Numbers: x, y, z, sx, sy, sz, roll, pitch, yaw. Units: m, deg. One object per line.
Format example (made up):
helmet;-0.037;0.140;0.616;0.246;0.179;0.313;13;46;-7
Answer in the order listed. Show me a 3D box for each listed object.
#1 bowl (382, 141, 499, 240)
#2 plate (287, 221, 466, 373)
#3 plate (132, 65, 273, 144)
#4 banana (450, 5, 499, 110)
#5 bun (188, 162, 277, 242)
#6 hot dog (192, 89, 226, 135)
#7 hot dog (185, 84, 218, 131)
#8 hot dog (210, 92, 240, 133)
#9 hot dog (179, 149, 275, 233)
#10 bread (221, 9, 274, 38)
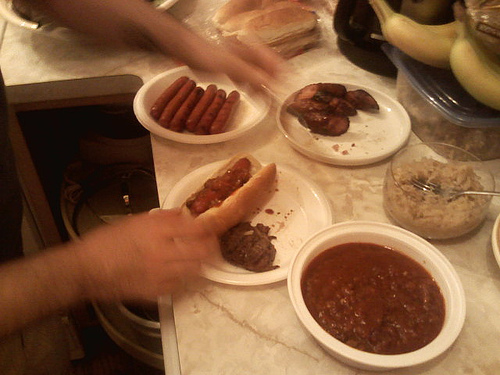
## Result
bowl;0.681;0.005;1.583;0.385;0.182;0.394;0;52;-1
plate;0.385;0.316;1.312;0.535;0.060;0.464;7;59;4
plate;-0.230;-0.377;1.951;0.597;0.086;0.465;20;61;11
banana;0.848;-0.489;1.603;0.208;0.080;0.337;-26;86;-49
bun;-0.032;0.054;1.614;0.361;0.107;0.176;-40;26;-20
hot dog;-0.166;-0.356;1.959;0.062;0.056;0.312;32;58;-5
hot dog;-0.225;-0.369;1.967;0.068;0.062;0.295;21;57;5
hot dog;-0.111;-0.341;1.953;0.068;0.074;0.277;11;55;34
hot dog;-0.083;0.015;1.677;0.222;0.131;0.435;26;54;28
bread;-0.036;-0.891;2.199;0.288;0.066;0.139;-33;65;-18
